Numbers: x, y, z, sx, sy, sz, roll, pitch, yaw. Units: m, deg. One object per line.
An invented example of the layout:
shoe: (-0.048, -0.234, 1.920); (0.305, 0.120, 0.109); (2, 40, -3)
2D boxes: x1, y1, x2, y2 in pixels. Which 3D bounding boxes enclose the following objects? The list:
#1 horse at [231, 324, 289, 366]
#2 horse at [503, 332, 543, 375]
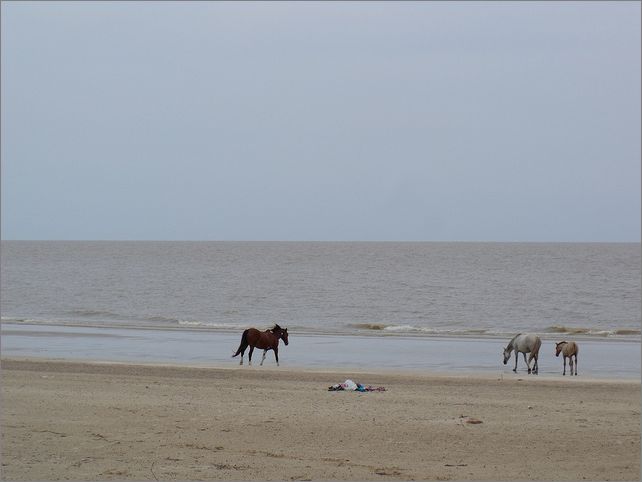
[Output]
horse: (-2.992, 5.154, 59.041); (3.557, 2.127, 0.858); (11, -15, -43)
horse: (10.169, 5.739, 60.508); (0.862, 1.943, 3.189); (8, -15, -22)
